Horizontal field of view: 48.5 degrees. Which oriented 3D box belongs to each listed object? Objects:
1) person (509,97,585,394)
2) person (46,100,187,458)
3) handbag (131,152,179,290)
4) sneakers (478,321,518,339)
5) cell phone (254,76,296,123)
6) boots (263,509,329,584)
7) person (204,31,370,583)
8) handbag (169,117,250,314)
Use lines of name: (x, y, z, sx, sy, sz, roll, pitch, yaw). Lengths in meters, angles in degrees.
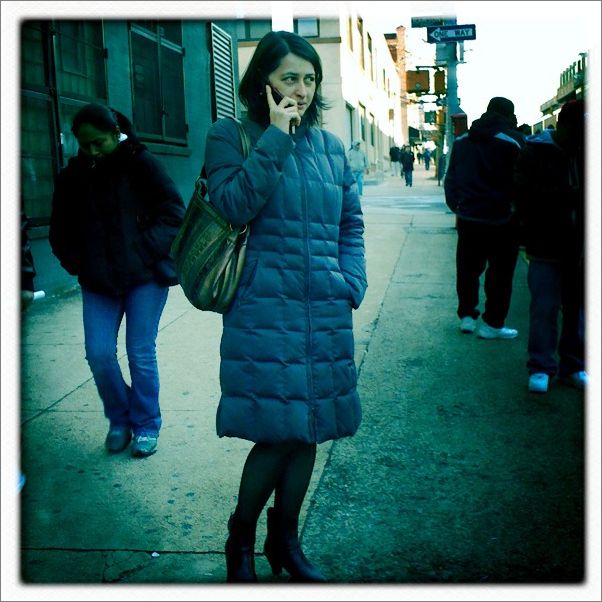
person: (1.777, -0.367, 4.664, 0.557, 2.017, 0.418, 3, 12, 17)
person: (-1.040, -0.099, 3.788, 0.678, 1.939, 0.374, 1, 12, 10)
handbag: (-0.832, -0.438, 3.734, 0.217, 0.684, 0.482, 0, 0, 39)
sneakers: (1.838, 0.284, 6.158, 0.382, 0.187, 0.152, -1, 15, -8)
cell phone: (-0.068, -0.757, 2.445, 0.062, 0.173, 0.124, -43, 30, -6)
boots: (-0.012, 0.957, 2.569, 0.304, 0.270, 0.113, -2, -2, 34)
person: (-0.029, 0.060, 2.541, 0.671, 2.090, 0.436, -8, 14, -33)
handbag: (-0.341, -0.219, 2.452, 0.213, 0.524, 0.353, -7, 14, -28)
